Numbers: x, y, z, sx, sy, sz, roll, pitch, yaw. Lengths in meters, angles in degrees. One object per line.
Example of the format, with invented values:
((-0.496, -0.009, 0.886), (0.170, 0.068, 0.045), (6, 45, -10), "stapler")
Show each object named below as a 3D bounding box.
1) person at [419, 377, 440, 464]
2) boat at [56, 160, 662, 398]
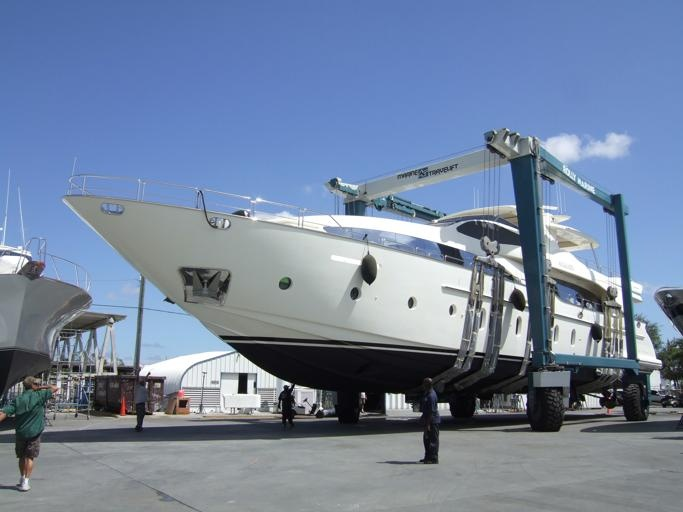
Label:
((1.540, 2.966, 9.613), (0.319, 1.226, 0.387), (-3, -13, 8), "person")
((2.133, 0.455, 16.993), (16.946, 6.213, 5.475), (8, 2, -27), "boat")
